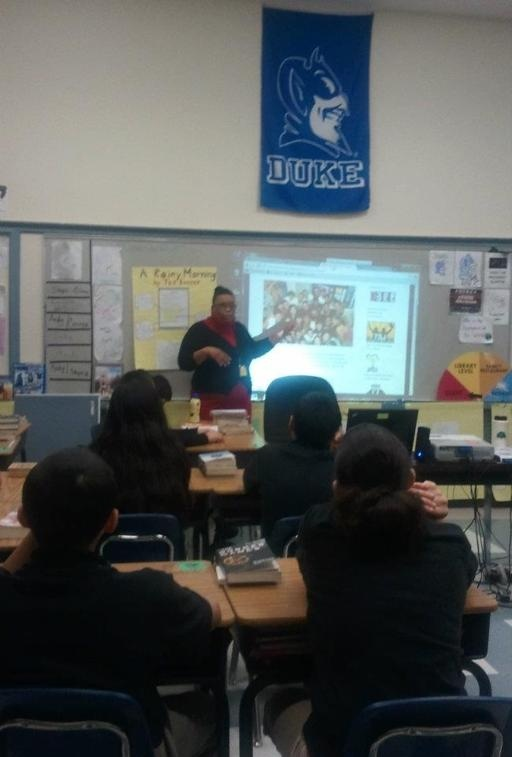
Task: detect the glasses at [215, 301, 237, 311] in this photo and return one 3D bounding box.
[{"bbox_3d":[-0.202,-0.473,4.493,0.122,0.074,0.065,-2,5,-14],"label":"glasses"}]

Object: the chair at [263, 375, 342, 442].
[{"bbox_3d":[0.231,0.182,3.957,0.368,0.502,0.417,0,-7,4],"label":"chair"}]
